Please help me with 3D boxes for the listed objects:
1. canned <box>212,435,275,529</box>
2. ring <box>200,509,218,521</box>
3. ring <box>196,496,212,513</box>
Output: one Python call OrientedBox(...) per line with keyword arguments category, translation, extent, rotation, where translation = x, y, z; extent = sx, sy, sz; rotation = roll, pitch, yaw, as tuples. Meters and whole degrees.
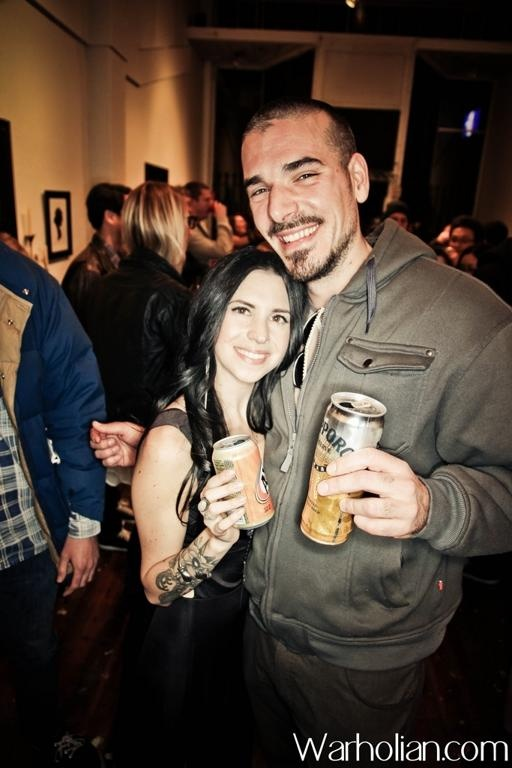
OrientedBox(category="canned", translation=(-0.033, 0.200, 1.110), extent=(0.126, 0.195, 0.083), rotation=(15, 22, 30))
OrientedBox(category="ring", translation=(-0.098, 0.261, 1.110), extent=(0.023, 0.012, 0.032), rotation=(11, -13, 11))
OrientedBox(category="ring", translation=(-0.100, 0.241, 1.115), extent=(0.009, 0.033, 0.035), rotation=(10, 3, -45))
